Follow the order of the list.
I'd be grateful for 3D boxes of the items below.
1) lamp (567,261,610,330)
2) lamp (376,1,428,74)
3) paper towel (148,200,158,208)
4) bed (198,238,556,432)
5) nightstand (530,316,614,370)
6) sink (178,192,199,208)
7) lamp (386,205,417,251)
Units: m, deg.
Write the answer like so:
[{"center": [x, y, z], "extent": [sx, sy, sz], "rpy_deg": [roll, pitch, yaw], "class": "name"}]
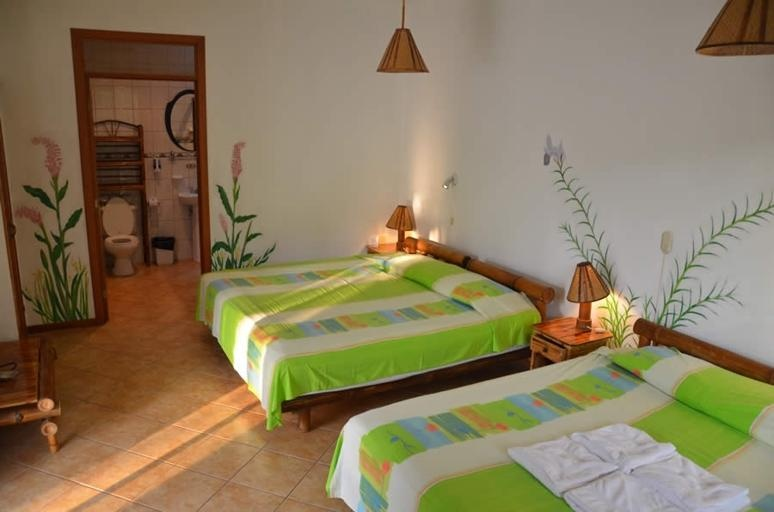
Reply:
[{"center": [1.795, 0.361, 4.439], "extent": [0.396, 0.646, 0.403], "rpy_deg": [-2, 19, 10], "class": "lamp"}, {"center": [0.145, -1.794, 4.284], "extent": [0.279, 0.391, 0.302], "rpy_deg": [-9, 17, -40], "class": "lamp"}, {"center": [-3.421, -0.765, 7.407], "extent": [0.139, 0.131, 0.108], "rpy_deg": [-3, 13, -20], "class": "paper towel"}, {"center": [-0.134, 0.588, 4.577], "extent": [2.036, 0.734, 2.075], "rpy_deg": [-8, 22, -28], "class": "bed"}, {"center": [1.632, 0.709, 4.452], "extent": [0.529, 0.427, 0.445], "rpy_deg": [-10, 19, -28], "class": "nightstand"}, {"center": [-2.933, -0.822, 7.442], "extent": [0.247, 0.219, 0.392], "rpy_deg": [-3, 13, -22], "class": "sink"}, {"center": [0.136, -0.435, 6.586], "extent": [0.490, 0.772, 0.529], "rpy_deg": [2, 24, 1], "class": "lamp"}]
